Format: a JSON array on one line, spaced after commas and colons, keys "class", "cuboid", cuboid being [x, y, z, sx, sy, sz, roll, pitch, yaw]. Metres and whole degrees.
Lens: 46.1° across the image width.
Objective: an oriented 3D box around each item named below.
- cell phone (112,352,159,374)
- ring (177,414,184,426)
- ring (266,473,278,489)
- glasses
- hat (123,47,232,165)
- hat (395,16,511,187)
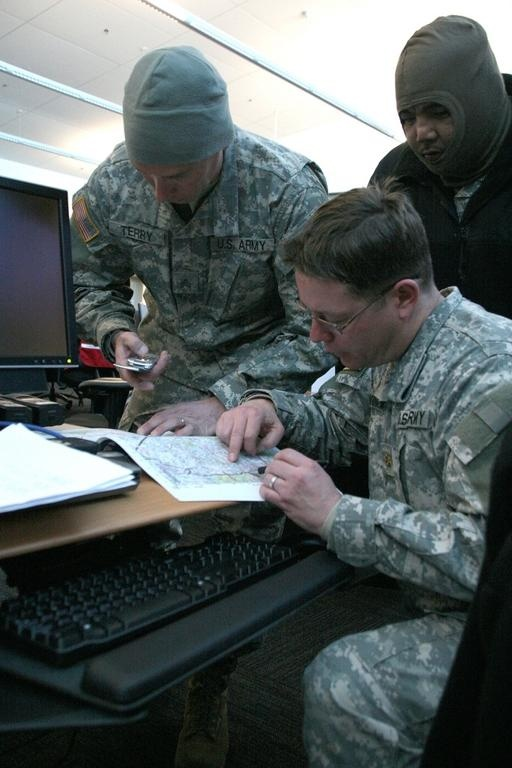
[{"class": "cell phone", "cuboid": [-0.230, -0.038, 1.177, 0.064, 0.038, 0.107, 3, -4, -41]}, {"class": "ring", "cuboid": [-0.141, 0.070, 1.135, 0.011, 0.023, 0.028, 17, -9, -5]}, {"class": "ring", "cuboid": [0.022, 0.135, 0.826, 0.006, 0.011, 0.016, 7, 15, -22]}, {"class": "glasses", "cuboid": [0.136, -0.133, 0.929, 0.119, 0.036, 0.116, -32, 28, -20]}, {"class": "hat", "cuboid": [-0.108, -0.499, 1.111, 0.200, 0.174, 0.225, 3, 37, 6]}, {"class": "hat", "cuboid": [0.556, -0.775, 1.640, 0.360, 0.451, 0.148, 2, -3, -26]}]
